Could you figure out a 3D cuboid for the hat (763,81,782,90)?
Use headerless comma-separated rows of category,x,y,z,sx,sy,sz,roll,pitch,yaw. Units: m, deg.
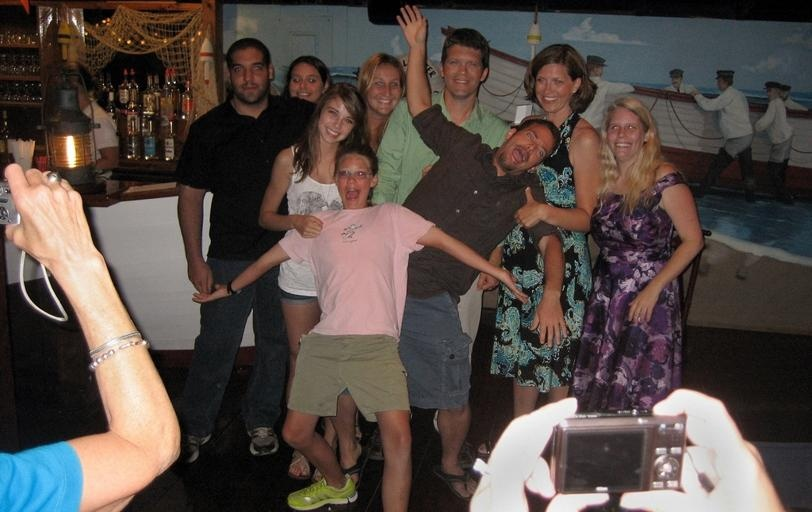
hat,3.518,-1.642,5.670,0.152,0.069,0.027,0,14,-7

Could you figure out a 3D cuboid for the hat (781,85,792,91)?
hat,3.642,-1.616,5.671,0.075,0.051,0.061,3,11,1

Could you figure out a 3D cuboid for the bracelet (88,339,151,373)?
bracelet,-0.861,0.306,1.782,0.123,0.046,0.105,-27,23,-14

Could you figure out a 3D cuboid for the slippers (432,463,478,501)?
slippers,0.276,1.286,3.400,0.258,0.090,0.155,32,42,23
